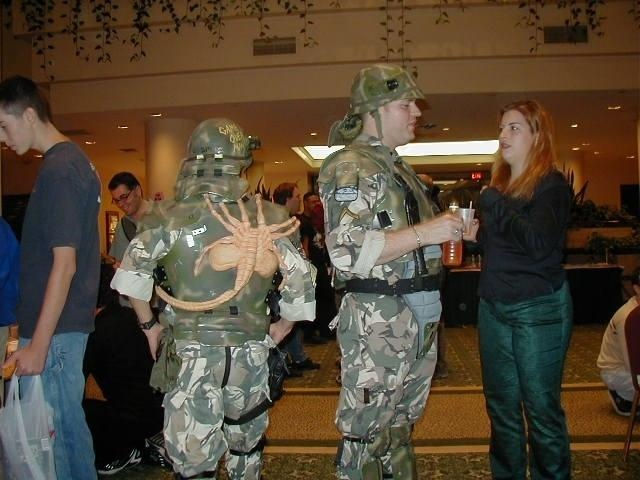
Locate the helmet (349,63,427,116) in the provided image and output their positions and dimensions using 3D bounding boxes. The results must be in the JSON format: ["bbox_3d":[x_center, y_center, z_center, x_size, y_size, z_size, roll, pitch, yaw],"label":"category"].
[{"bbox_3d":[0.323,-0.736,2.599,0.296,0.176,0.230,2,5,-7],"label":"helmet"}]

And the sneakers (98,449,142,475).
[{"bbox_3d":[-1.274,1.426,3.459,0.095,0.124,0.290,-3,7,43],"label":"sneakers"}]
